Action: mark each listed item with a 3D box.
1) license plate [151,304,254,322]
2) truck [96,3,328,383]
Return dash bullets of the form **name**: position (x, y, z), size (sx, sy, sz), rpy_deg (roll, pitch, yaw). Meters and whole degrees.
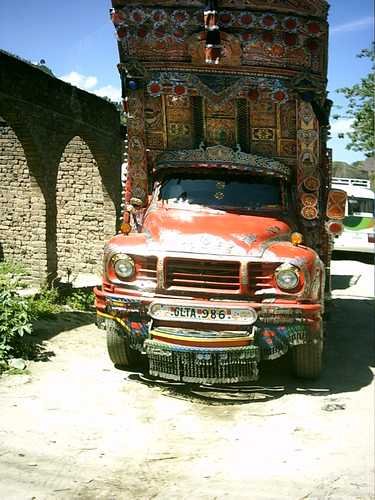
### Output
- **license plate**: position (0.125, 0.559, 5.395), size (0.922, 0.120, 0.060), rpy_deg (3, 5, 11)
- **truck**: position (0.238, -0.633, 6.128), size (2.381, 3.921, 1.937), rpy_deg (3, 5, 0)
